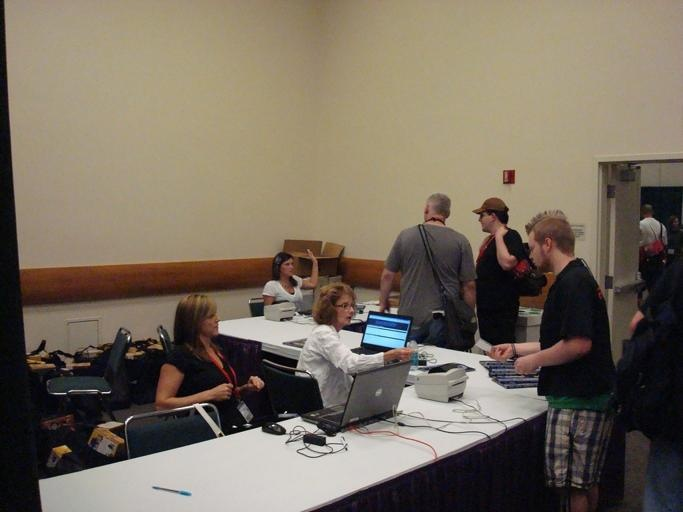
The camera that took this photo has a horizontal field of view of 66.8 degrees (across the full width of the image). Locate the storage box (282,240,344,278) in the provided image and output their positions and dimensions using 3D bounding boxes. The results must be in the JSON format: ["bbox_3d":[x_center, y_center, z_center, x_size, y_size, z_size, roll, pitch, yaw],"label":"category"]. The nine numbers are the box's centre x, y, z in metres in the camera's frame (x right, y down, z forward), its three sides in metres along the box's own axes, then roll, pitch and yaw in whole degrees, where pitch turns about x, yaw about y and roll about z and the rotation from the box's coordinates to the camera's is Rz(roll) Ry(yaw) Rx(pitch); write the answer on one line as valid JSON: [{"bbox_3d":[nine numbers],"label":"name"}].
[{"bbox_3d":[-0.395,0.053,6.937,0.675,0.438,0.674,1,7,-33],"label":"storage box"}]

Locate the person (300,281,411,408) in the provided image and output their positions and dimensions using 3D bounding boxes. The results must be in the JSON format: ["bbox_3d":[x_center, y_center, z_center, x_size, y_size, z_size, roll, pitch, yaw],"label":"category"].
[{"bbox_3d":[0.076,0.696,3.160,0.661,1.045,0.430,3,16,17],"label":"person"}]

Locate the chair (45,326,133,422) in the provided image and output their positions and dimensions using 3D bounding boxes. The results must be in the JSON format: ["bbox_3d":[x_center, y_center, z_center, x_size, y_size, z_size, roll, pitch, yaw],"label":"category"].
[{"bbox_3d":[-2.005,0.969,4.095,0.559,0.792,0.441,6,1,-27],"label":"chair"}]

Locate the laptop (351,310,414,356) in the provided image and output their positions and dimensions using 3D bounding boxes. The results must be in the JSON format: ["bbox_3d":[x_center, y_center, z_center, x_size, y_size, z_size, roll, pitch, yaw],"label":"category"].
[{"bbox_3d":[0.228,0.510,3.483,0.335,0.273,0.400,11,-6,-42],"label":"laptop"}]

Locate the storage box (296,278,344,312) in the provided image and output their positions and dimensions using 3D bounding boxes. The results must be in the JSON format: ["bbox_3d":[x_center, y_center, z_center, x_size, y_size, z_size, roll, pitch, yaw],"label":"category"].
[{"bbox_3d":[-0.213,0.325,4.287,0.284,0.084,0.322,6,10,44],"label":"storage box"}]

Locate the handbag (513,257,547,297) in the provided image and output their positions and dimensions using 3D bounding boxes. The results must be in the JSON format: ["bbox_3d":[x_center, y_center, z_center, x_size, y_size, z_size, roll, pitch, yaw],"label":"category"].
[{"bbox_3d":[1.589,0.143,4.415,0.149,0.305,0.384,31,-12,-26],"label":"handbag"}]

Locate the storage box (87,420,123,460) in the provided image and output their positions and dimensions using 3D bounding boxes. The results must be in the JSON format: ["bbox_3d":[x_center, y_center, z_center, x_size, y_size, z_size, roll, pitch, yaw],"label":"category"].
[{"bbox_3d":[-1.550,1.228,3.425,0.196,0.059,0.204,14,13,23],"label":"storage box"}]

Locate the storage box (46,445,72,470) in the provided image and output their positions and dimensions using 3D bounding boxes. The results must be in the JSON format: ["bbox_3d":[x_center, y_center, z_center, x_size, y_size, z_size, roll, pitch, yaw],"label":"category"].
[{"bbox_3d":[-1.833,1.283,3.342,0.100,0.147,0.142,6,2,32],"label":"storage box"}]

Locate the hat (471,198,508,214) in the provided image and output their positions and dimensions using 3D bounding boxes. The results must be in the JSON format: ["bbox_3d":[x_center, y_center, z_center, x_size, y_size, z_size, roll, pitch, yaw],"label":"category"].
[{"bbox_3d":[1.300,-0.441,4.573,0.244,0.139,0.163,3,6,23],"label":"hat"}]

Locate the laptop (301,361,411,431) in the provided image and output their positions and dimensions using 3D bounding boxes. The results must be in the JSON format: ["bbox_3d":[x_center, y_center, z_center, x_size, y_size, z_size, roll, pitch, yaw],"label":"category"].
[{"bbox_3d":[0.103,0.611,2.572,0.355,0.310,0.409,8,7,42],"label":"laptop"}]

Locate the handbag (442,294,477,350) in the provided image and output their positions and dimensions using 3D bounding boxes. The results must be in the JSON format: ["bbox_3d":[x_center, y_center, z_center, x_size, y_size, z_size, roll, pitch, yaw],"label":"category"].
[{"bbox_3d":[0.929,0.532,4.037,0.223,0.403,0.265,-6,-4,24],"label":"handbag"}]
